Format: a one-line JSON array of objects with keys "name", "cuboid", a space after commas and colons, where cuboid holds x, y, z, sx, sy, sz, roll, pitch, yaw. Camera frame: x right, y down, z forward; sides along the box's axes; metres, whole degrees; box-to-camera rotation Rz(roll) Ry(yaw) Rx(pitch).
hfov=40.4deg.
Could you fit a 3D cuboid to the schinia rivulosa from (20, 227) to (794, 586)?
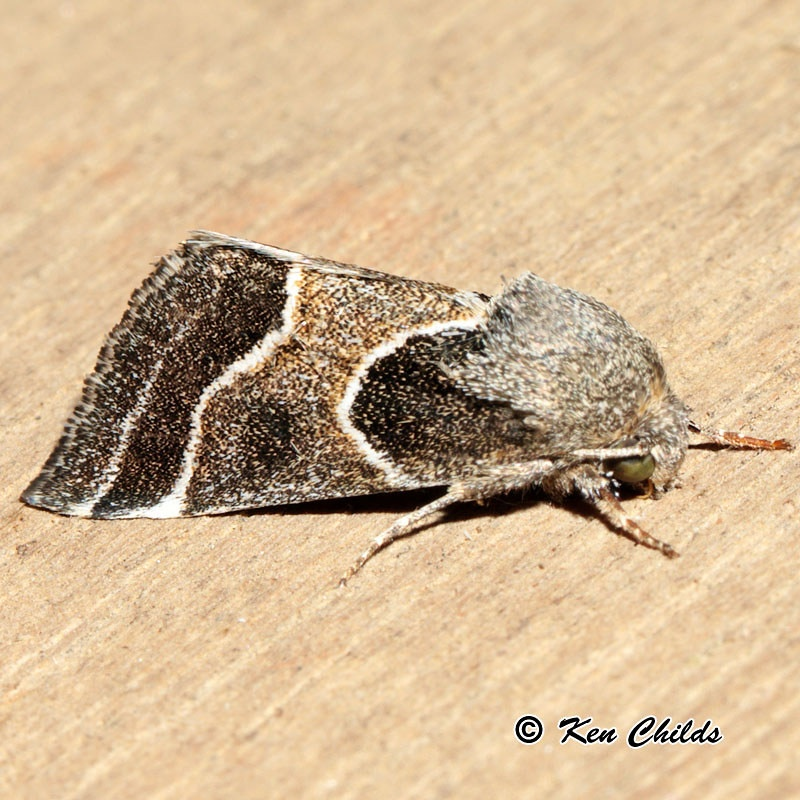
[{"name": "schinia rivulosa", "cuboid": [-0.196, -0.007, 5.524, 3.195, 0.641, 1.353, 3, 80, 4]}]
